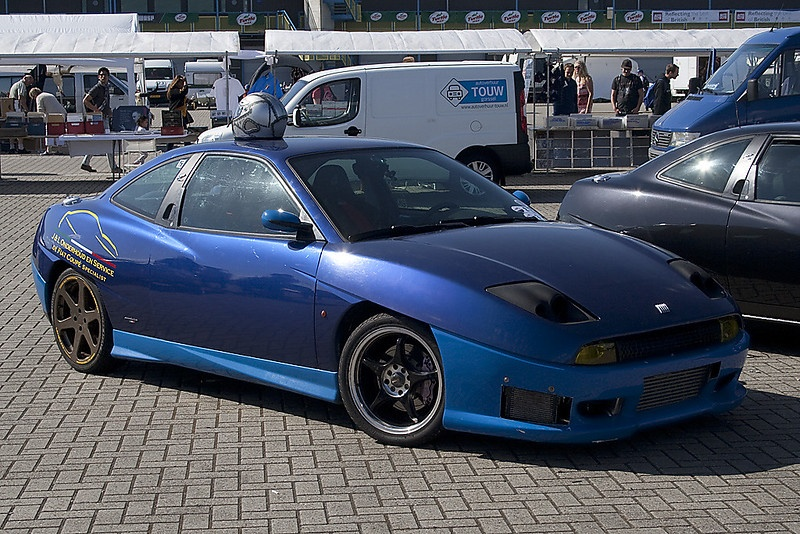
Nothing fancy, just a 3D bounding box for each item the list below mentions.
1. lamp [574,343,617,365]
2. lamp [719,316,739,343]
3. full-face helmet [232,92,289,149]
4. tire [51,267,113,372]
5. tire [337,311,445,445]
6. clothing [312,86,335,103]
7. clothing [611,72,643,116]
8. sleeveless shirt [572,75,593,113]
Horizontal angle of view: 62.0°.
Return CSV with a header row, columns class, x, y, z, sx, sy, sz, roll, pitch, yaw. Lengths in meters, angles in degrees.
class,x,y,z,sx,sy,sz,roll,pitch,yaw
lamp,1.117,0.501,3.795,0.122,0.068,0.202,6,12,43
lamp,2.094,0.391,4.265,0.250,0.152,0.055,-11,15,-44
full-face helmet,-1.207,-1.301,5.749,0.530,0.400,0.408,-3,10,12
tire,-2.631,0.433,5.573,0.779,0.829,0.235,15,14,39
tire,-0.034,0.694,4.189,0.781,0.729,0.275,-16,-8,35
clothing,-1.760,-3.862,15.023,0.673,0.274,0.228,-9,19,-15
clothing,6.999,-5.276,20.501,1.097,1.249,0.761,3,18,28
sleeveless shirt,5.858,-5.470,21.272,0.666,1.072,0.904,-10,20,-13
